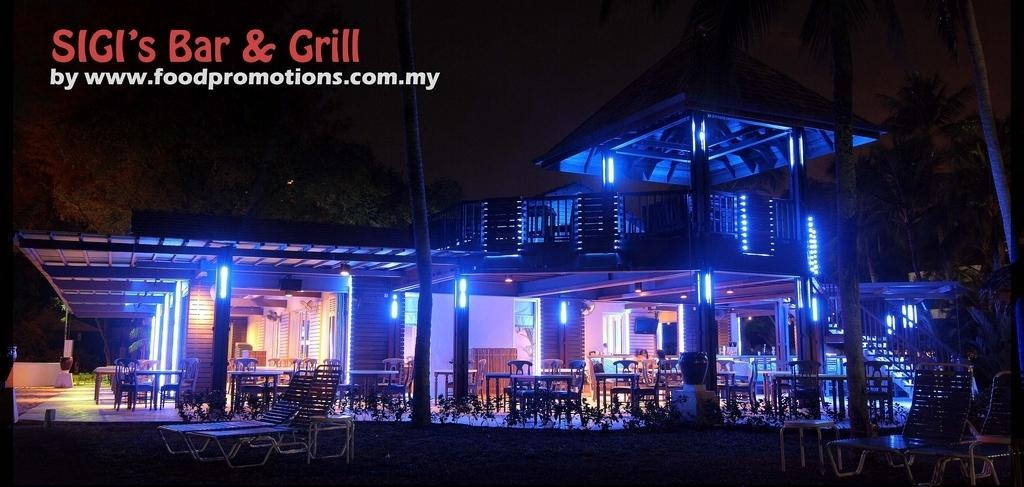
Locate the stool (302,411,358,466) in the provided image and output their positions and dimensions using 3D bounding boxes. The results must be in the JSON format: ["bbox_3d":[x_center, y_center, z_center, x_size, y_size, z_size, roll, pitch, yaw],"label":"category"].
[{"bbox_3d":[-6.376,6.882,29.535,1.904,1.286,1.720,-3,-6,14],"label":"stool"}]

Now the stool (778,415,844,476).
[{"bbox_3d":[10.468,7.031,28.706,2.097,1.479,2.030,14,-19,-41],"label":"stool"}]

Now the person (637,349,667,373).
[{"bbox_3d":[6.797,5.806,40.429,1.061,1.214,1.404,-4,-1,-14],"label":"person"}]
